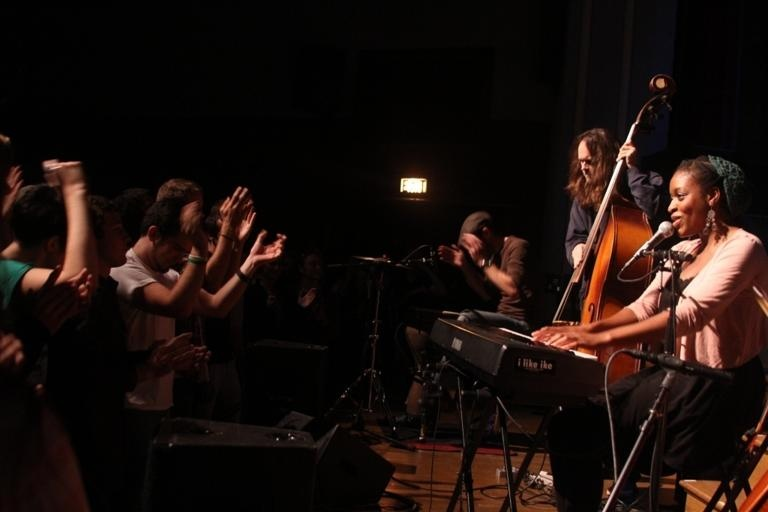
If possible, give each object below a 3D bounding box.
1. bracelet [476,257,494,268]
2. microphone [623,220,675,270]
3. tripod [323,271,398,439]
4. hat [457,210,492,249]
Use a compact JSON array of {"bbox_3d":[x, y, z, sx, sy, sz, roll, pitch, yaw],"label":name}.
[{"bbox_3d":[0.821,0.058,5.156,0.106,0.064,0.282,-7,-2,23],"label":"bracelet"},{"bbox_3d":[1.679,-0.064,4.088,0.102,0.383,0.101,46,5,-21],"label":"microphone"},{"bbox_3d":[-0.231,1.009,6.369,0.892,1.702,0.885,10,-19,-4],"label":"tripod"},{"bbox_3d":[0.767,-0.234,5.339,0.312,0.316,0.224,12,-16,-6],"label":"hat"}]
